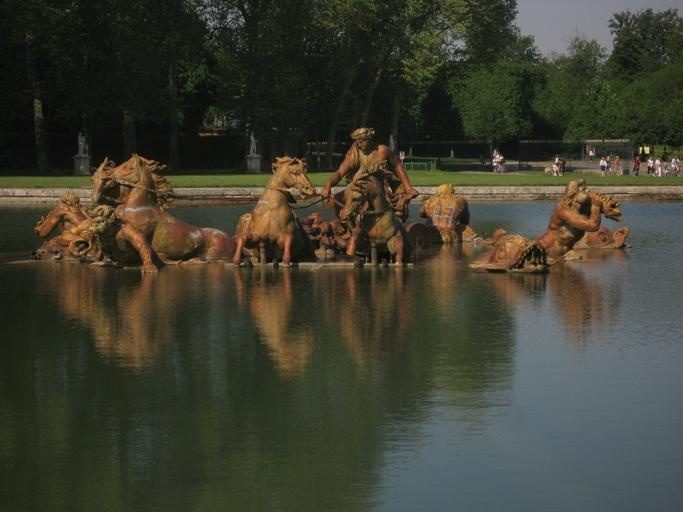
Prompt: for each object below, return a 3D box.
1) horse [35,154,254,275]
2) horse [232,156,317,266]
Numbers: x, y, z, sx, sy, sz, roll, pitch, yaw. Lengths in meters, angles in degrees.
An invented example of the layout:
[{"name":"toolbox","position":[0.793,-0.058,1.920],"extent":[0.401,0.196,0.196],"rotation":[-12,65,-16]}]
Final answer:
[{"name":"horse","position":[-5.139,-0.753,40.654],"extent":[3.479,2.118,3.827],"rotation":[6,-9,-29]},{"name":"horse","position":[-1.562,-1.246,40.330],"extent":[1.752,3.141,1.771],"rotation":[6,14,19]}]
